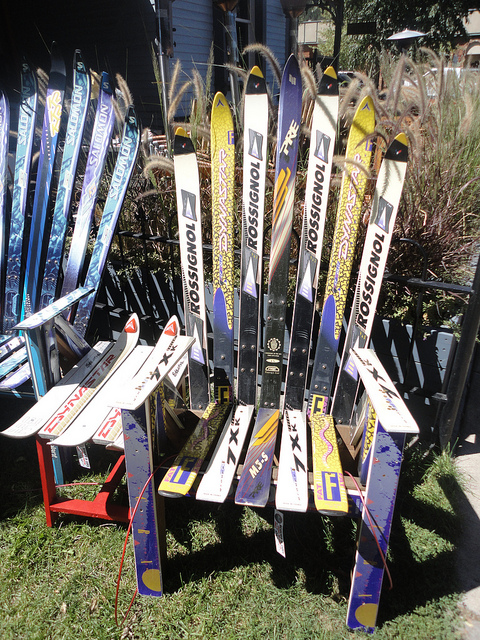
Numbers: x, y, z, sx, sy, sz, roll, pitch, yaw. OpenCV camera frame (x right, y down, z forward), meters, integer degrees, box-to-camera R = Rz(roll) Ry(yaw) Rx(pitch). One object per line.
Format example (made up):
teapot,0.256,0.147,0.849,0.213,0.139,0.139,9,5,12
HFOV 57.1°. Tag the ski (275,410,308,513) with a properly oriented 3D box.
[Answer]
ski,0.163,0.392,1.317,0.094,0.024,0.529,6,15,5

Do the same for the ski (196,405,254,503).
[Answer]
ski,-0.040,0.364,1.273,0.072,0.028,0.340,2,22,9

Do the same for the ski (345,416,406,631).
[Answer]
ski,0.340,0.542,1.112,0.100,0.652,0.052,13,22,24

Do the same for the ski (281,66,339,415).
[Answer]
ski,0.217,-0.259,1.439,0.104,1.488,0.097,5,20,12

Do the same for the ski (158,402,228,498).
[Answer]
ski,-0.136,0.351,1.351,0.082,0.069,0.447,1,24,12

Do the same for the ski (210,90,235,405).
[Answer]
ski,-0.051,-0.202,1.545,0.096,1.077,0.070,1,17,9

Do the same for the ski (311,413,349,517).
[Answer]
ski,0.256,0.395,1.307,0.087,0.027,0.518,7,16,6

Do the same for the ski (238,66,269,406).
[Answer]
ski,0.053,-0.169,1.505,0.089,1.215,0.073,2,21,10

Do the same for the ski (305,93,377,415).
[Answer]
ski,0.334,0.058,1.558,0.138,1.536,0.092,6,19,11

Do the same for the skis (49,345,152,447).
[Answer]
skis,-0.417,0.205,1.343,0.174,0.064,0.389,7,50,15

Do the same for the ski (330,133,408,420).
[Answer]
ski,0.405,0.042,1.504,0.117,1.243,0.091,11,24,17

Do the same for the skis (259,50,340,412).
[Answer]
skis,0.196,-0.266,1.455,0.193,1.494,0.145,3,17,10

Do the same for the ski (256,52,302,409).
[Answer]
ski,0.132,-0.257,1.459,0.093,1.310,0.085,4,20,12

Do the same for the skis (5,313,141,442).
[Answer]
skis,-0.448,0.202,1.432,0.246,0.085,0.542,8,38,3

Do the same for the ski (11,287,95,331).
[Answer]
ski,-0.625,-0.048,1.528,0.107,0.051,0.400,9,24,10

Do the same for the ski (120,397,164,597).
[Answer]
ski,-0.281,0.463,1.279,0.087,0.024,0.637,27,27,-32

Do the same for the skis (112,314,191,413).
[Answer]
skis,-0.234,0.102,1.266,0.110,0.085,0.492,1,45,9

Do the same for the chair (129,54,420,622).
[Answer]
chair,0.102,0.018,1.346,0.722,1.496,0.884,4,21,0

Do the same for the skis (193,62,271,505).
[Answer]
skis,0.017,0.322,1.627,0.159,2.208,0.208,7,21,22

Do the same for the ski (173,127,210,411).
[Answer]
ski,-0.145,-0.233,1.591,0.102,1.157,0.156,-1,10,3
